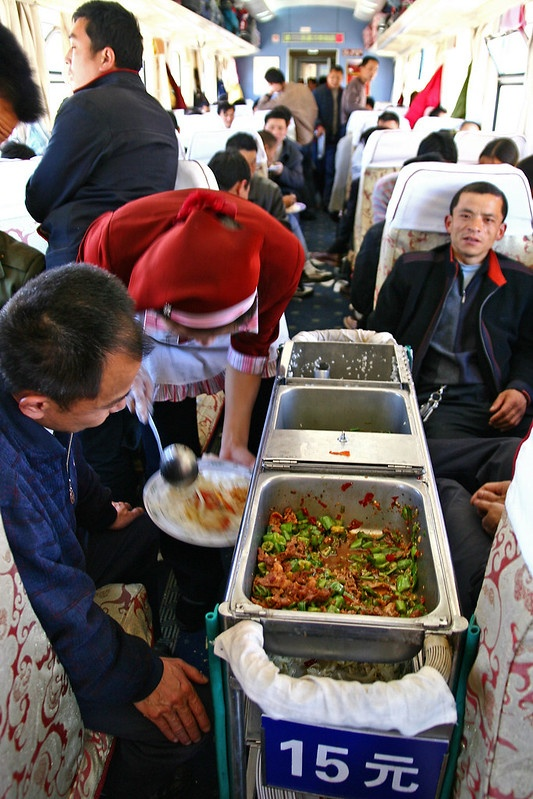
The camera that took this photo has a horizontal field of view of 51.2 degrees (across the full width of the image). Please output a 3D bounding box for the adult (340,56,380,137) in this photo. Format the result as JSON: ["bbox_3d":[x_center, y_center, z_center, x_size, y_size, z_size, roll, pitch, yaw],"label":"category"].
[{"bbox_3d":[1.443,-4.427,8.566,0.480,1.525,0.500,14,55,11],"label":"adult"}]

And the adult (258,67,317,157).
[{"bbox_3d":[0.375,-3.604,7.473,0.542,1.293,0.693,-32,38,-30],"label":"adult"}]

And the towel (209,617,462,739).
[{"bbox_3d":[0.092,0.376,0.733,0.205,0.060,0.159,4,1,-5],"label":"towel"}]

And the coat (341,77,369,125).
[{"bbox_3d":[1.317,-4.451,8.345,0.358,0.646,0.509,4,30,4],"label":"coat"}]

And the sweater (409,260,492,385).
[{"bbox_3d":[0.774,-0.278,2.210,0.325,0.474,0.144,1,2,9],"label":"sweater"}]

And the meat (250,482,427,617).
[{"bbox_3d":[0.145,0.284,1.097,0.225,0.058,0.237,1,30,8],"label":"meat"}]

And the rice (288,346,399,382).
[{"bbox_3d":[0.249,-0.124,1.896,0.260,0.144,0.182,2,-12,2],"label":"rice"}]

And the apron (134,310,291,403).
[{"bbox_3d":[-0.222,-0.099,1.702,0.261,0.311,0.654,2,-1,-4],"label":"apron"}]

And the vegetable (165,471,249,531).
[{"bbox_3d":[-0.120,0.220,1.226,0.108,0.028,0.111,-4,31,-12],"label":"vegetable"}]

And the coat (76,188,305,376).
[{"bbox_3d":[-0.177,-0.254,1.272,0.428,0.213,0.557,6,51,-11],"label":"coat"}]

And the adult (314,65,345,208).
[{"bbox_3d":[1.023,-4.048,8.657,0.546,2.028,0.608,0,22,-5],"label":"adult"}]
